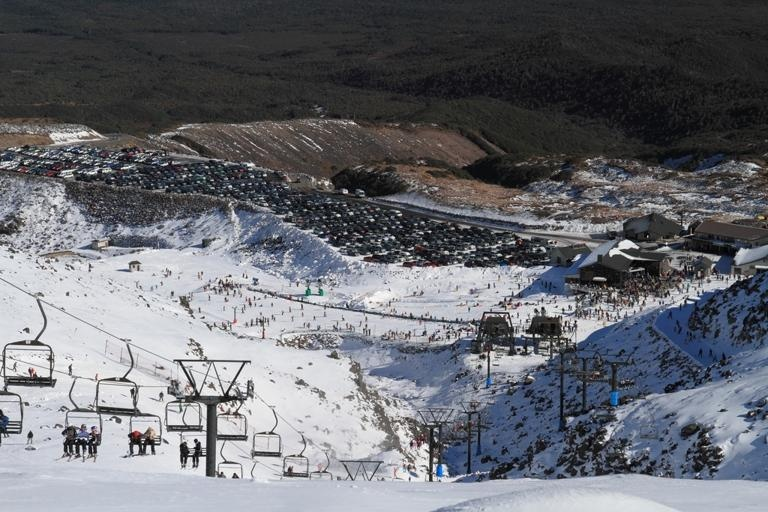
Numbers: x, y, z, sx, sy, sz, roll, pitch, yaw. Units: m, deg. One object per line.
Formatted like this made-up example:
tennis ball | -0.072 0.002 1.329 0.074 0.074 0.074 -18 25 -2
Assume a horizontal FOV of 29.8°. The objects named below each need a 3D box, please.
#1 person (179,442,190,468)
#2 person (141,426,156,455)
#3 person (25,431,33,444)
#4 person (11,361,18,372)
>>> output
person | -15.567 15.677 113.420 0.771 2.112 1.398 1 -4 -7
person | -18.399 14.614 113.524 1.000 2.180 1.225 1 -4 -7
person | -27.665 14.289 113.218 0.463 0.937 0.605 -1 -4 13
person | -29.945 9.085 117.417 0.562 0.994 0.471 30 37 32
